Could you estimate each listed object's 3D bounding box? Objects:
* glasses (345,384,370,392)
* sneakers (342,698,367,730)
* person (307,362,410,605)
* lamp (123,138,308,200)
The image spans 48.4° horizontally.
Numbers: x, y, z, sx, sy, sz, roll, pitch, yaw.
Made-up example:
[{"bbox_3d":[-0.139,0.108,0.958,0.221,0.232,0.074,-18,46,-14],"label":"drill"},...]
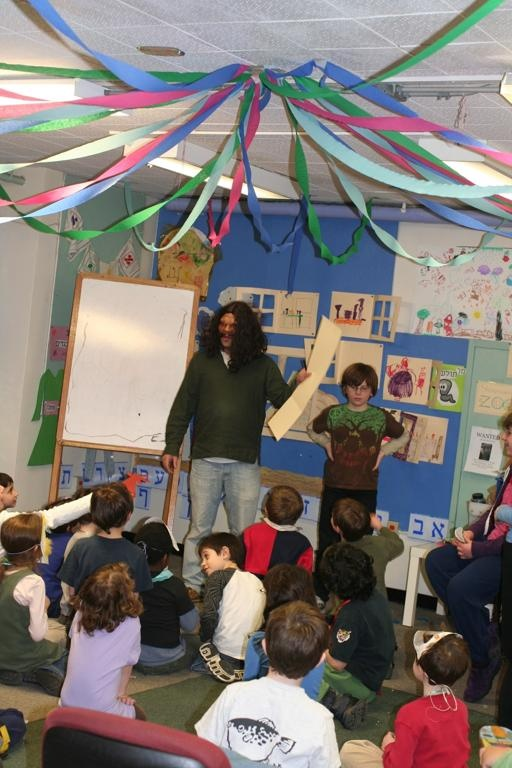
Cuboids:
[{"bbox_3d":[0.582,0.015,3.313,0.133,0.051,0.063,10,2,11],"label":"glasses"},{"bbox_3d":[0.385,1.303,2.290,0.060,0.122,0.072,1,-17,46],"label":"sneakers"},{"bbox_3d":[0.587,0.573,3.446,0.635,1.357,0.436,2,4,12],"label":"person"},{"bbox_3d":[-0.166,-1.099,2.892,0.156,0.178,0.956,8,2,38],"label":"lamp"}]
